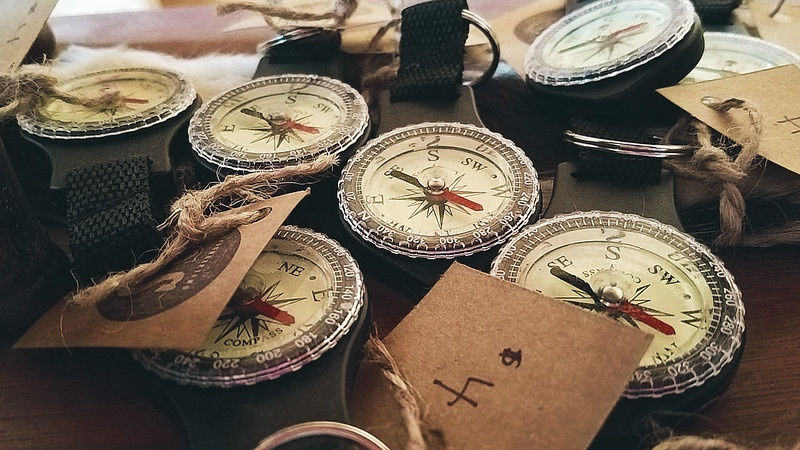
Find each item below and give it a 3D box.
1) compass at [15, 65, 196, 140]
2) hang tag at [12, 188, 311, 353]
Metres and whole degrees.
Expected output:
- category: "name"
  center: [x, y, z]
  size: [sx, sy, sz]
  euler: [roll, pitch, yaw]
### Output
- category: "compass"
  center: [-0.950, -0.395, 2.489]
  size: [0.373, 0.034, 0.322]
  euler: [-8, 37, -10]
- category: "hang tag"
  center: [-0.597, 0.192, 2.008]
  size: [0.489, 0.080, 0.596]
  euler: [-8, 32, 37]
